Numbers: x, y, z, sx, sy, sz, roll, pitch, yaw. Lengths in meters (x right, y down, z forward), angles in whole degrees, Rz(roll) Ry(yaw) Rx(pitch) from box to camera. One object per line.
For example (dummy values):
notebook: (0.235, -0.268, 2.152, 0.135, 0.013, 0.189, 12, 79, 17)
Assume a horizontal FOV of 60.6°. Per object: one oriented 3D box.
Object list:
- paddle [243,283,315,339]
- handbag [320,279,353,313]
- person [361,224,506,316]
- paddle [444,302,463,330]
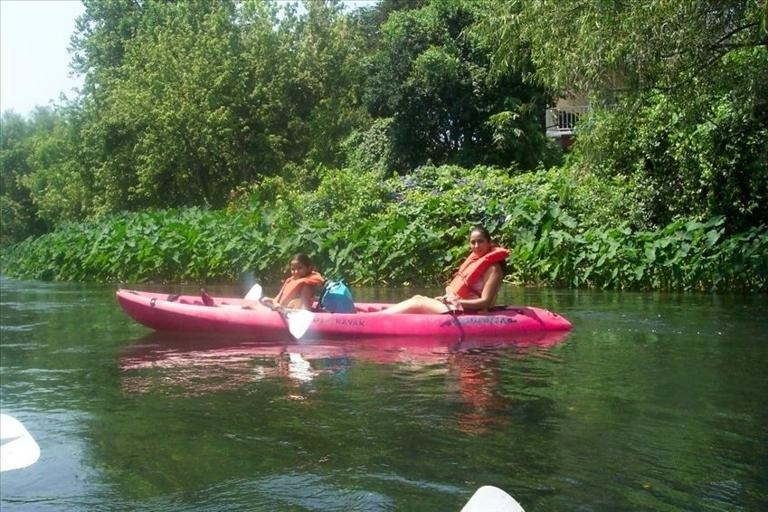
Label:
paddle: (-1.377, 0.684, 8.400, 1.472, 0.445, 0.131, 14, -31, 52)
handbag: (-0.599, 0.513, 8.437, 0.460, 0.463, 0.324, 5, -11, -15)
person: (0.650, 0.218, 8.572, 1.805, 1.016, 0.820, -2, 10, -9)
paddle: (0.871, 0.745, 8.100, 0.170, 0.300, 0.313, -2, 8, -4)
